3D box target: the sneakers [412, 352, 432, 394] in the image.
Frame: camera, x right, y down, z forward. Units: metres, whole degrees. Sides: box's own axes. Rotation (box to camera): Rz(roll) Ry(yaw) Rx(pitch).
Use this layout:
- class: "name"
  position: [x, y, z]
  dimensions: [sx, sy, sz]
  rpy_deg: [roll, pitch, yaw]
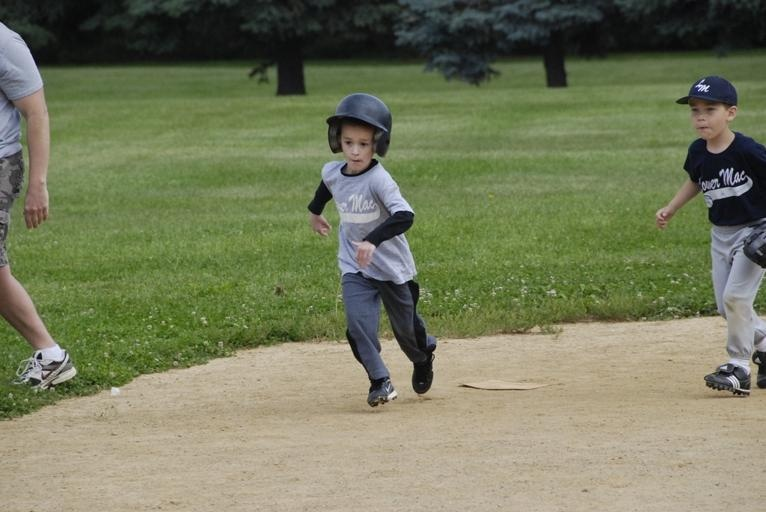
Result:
- class: "sneakers"
  position: [0.293, 0.835, 9.530]
  dimensions: [0.129, 0.306, 0.138]
  rpy_deg: [3, 19, 7]

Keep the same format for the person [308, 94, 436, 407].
- class: "person"
  position: [-0.026, -0.055, 9.295]
  dimensions: [0.670, 2.228, 0.769]
  rpy_deg: [-9, 13, -19]

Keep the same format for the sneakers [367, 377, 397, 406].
- class: "sneakers"
  position: [-0.030, 0.952, 9.135]
  dimensions: [0.119, 0.140, 0.298]
  rpy_deg: [-20, -15, 12]

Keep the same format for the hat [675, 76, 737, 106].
- class: "hat"
  position: [2.339, -1.175, 9.367]
  dimensions: [0.340, 0.158, 0.242]
  rpy_deg: [14, 0, -14]

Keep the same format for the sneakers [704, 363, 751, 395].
- class: "sneakers"
  position: [2.504, 0.884, 9.438]
  dimensions: [0.348, 0.141, 0.182]
  rpy_deg: [20, -7, -21]

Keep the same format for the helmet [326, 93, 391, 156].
- class: "helmet"
  position: [-0.152, -0.973, 9.280]
  dimensions: [0.429, 0.367, 0.487]
  rpy_deg: [2, -1, 14]
